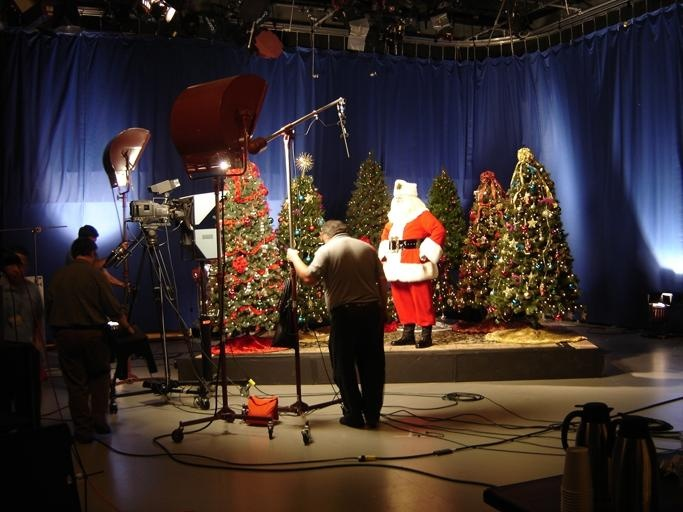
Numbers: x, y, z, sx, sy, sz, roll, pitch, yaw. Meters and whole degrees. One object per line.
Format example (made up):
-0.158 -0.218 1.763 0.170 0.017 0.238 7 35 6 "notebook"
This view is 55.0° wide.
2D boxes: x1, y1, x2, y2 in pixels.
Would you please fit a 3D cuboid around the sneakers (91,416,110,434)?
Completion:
-2.347 1.642 6.367 0.101 0.188 0.132 -19 -10 41 "sneakers"

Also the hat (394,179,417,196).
0.883 -0.958 9.183 0.273 0.210 0.287 -1 -2 11 "hat"

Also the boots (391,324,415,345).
0.809 1.028 8.519 0.302 0.248 0.193 -2 -1 4 "boots"

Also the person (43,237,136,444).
-2.462 0.794 6.374 0.738 1.952 0.389 -1 -1 -26 "person"

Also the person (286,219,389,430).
0.038 0.751 6.400 0.746 1.864 0.306 -1 -1 -2 "person"
